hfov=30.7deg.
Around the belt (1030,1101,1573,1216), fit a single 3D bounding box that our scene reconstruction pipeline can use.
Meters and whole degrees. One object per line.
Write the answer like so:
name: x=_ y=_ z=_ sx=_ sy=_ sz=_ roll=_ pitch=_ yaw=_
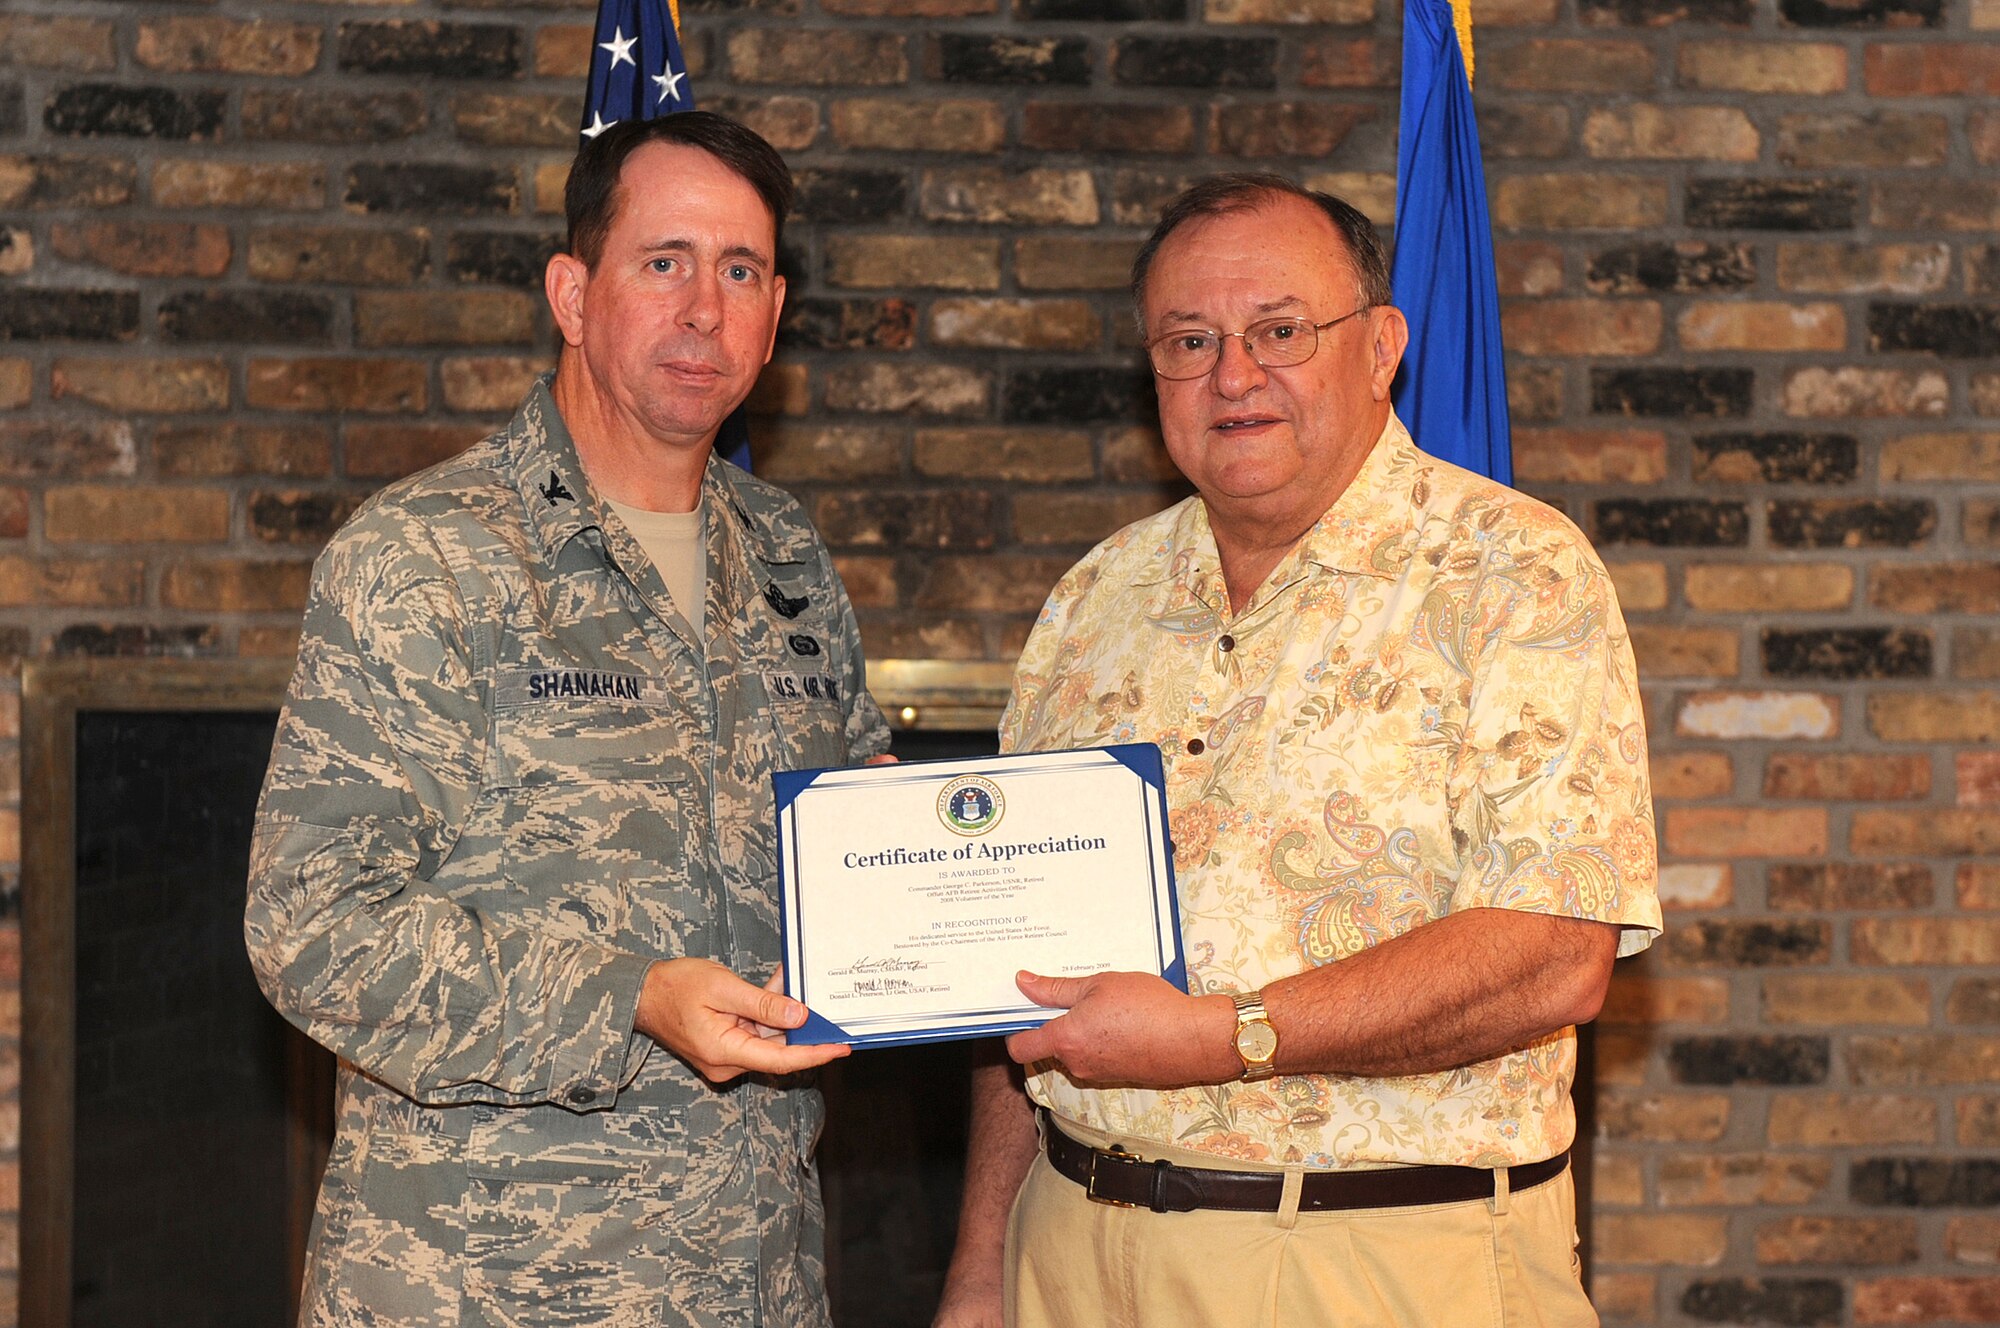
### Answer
belt: x=0.470 y=0.813 z=5.818 sx=0.821 sy=0.117 sz=0.132 roll=1 pitch=3 yaw=8
